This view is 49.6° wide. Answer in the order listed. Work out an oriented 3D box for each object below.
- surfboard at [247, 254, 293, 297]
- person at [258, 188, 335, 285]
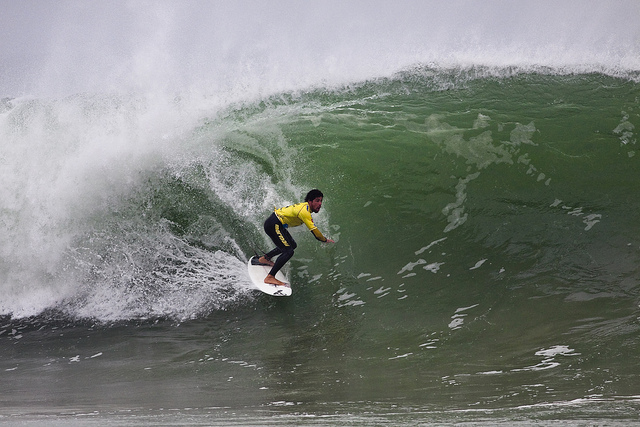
[{"bbox_3d":[-1.067,1.279,14.212,0.795,0.211,1.474,2,22,-28],"label":"surfboard"},{"bbox_3d":[-0.533,0.466,13.615,1.144,2.040,0.572,1,33,1],"label":"person"}]
